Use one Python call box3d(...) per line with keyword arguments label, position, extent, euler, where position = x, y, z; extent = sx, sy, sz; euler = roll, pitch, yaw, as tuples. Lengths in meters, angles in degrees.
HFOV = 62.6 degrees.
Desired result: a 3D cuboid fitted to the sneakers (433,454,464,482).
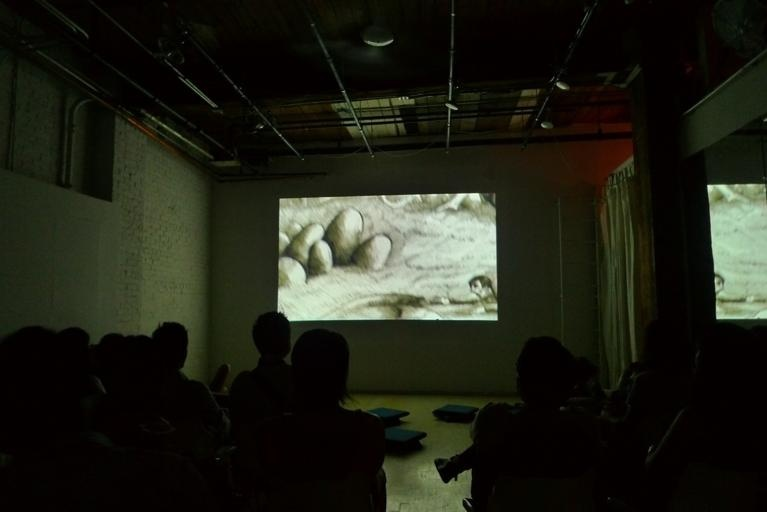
box3d(label="sneakers", position=(0.465, 1.563, 4.608), extent=(0.140, 0.164, 0.349), euler=(-5, -13, 7))
